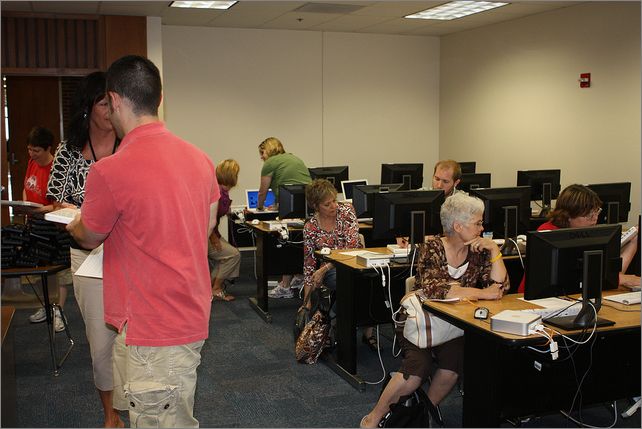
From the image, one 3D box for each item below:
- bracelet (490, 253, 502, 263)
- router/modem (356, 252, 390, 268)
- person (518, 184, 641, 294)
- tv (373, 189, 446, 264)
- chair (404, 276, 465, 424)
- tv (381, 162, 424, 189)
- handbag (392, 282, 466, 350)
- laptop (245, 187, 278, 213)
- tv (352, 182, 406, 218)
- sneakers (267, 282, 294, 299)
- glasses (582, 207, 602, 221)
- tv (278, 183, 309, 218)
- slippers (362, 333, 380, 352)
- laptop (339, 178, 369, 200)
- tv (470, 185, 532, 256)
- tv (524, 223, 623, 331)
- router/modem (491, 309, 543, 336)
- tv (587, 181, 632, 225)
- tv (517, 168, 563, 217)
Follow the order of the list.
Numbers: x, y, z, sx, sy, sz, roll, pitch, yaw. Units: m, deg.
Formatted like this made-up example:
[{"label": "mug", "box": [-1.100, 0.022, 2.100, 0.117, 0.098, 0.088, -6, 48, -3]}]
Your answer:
[{"label": "bracelet", "box": [1.213, 0.299, 3.497, 0.066, 0.019, 0.070, -38, -6, 22]}, {"label": "router/modem", "box": [0.414, 0.376, 4.076, 0.143, 0.055, 0.139, -2, 8, -20]}, {"label": "person", "box": [1.945, 0.178, 3.762, 1.004, 0.931, 0.331, -2, 10, -22]}, {"label": "tv", "box": [0.734, 0.093, 4.153, 0.557, 0.441, 0.172, -3, 11, -16]}, {"label": "chair", "box": [0.723, 0.887, 3.320, 0.579, 0.791, 0.283, 9, 2, -37]}, {"label": "tv", "box": [1.119, -0.556, 6.928, 0.479, 0.353, 0.158, -1, 8, -14]}, {"label": "handbag", "box": [0.675, 0.587, 3.430, 0.553, 0.566, 0.311, 0, 3, -21]}, {"label": "laptop", "box": [-0.857, -0.216, 7.136, 0.366, 0.274, 0.313, 1, -1, -19]}, {"label": "tv", "box": [0.549, -0.144, 4.896, 0.355, 0.265, 0.114, -7, 13, -35]}, {"label": "sneakers", "box": [-0.511, 1.003, 6.391, 0.344, 0.179, 0.149, 2, 0, -6]}, {"label": "glasses", "box": [2.112, -0.014, 3.929, 0.132, 0.046, 0.136, -16, 7, -28]}, {"label": "tv", "box": [-0.326, -0.165, 5.835, 0.383, 0.382, 0.131, 0, 1, -14]}, {"label": "slippers", "box": [0.487, 1.269, 4.791, 0.074, 0.097, 0.218, -1, 4, -32]}, {"label": "laptop", "box": [0.427, -0.384, 6.737, 0.323, 0.251, 0.283, 0, 3, -19]}, {"label": "tv", "box": [1.548, 0.048, 4.327, 0.566, 0.610, 0.187, -3, 11, -17]}, {"label": "tv", "box": [1.548, 0.406, 3.078, 0.537, 0.498, 0.228, -4, 12, -19]}, {"label": "router/modem", "box": [1.109, 0.642, 2.872, 0.153, 0.039, 0.165, 3, 8, 37]}, {"label": "tv", "box": [2.935, -0.128, 5.104, 0.474, 0.443, 0.159, 0, 4, -16]}, {"label": "tv", "box": [2.572, -0.286, 5.903, 0.627, 0.677, 0.250, -2, 9, -15]}]
